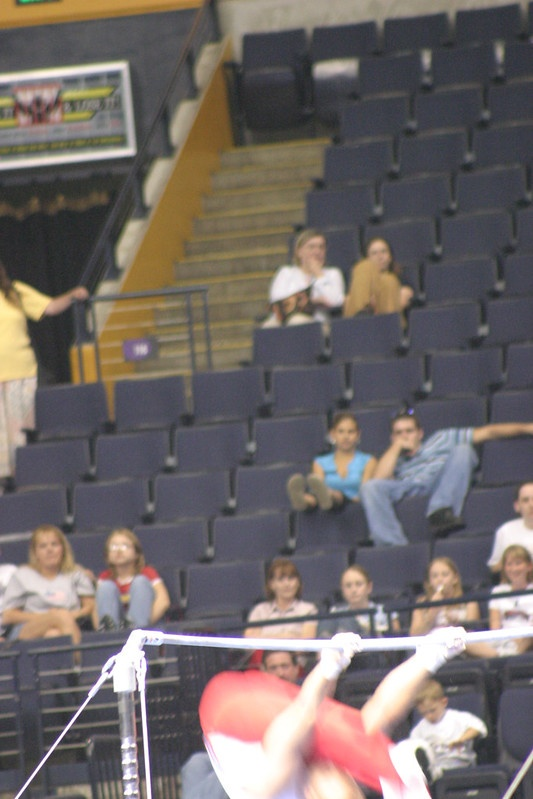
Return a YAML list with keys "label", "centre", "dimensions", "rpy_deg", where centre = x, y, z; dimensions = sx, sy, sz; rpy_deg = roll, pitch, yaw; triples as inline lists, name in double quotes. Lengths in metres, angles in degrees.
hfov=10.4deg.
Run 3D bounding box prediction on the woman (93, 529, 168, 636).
- label: "woman"
  centre: [-0.759, 1.010, 15.968]
  dimensions: [0.387, 0.635, 0.511]
  rpy_deg: [-7, -30, -7]
